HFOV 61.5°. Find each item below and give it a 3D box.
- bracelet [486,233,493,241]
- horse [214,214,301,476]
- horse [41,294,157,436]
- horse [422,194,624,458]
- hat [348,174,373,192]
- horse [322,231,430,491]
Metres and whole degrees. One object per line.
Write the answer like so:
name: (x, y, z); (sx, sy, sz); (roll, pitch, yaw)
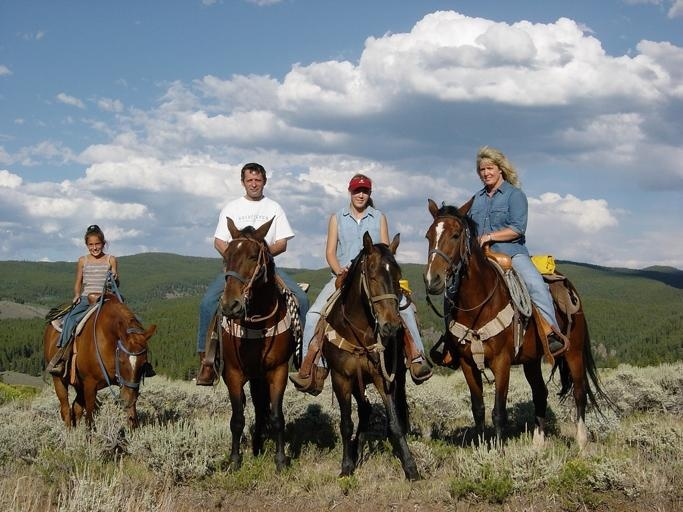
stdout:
bracelet: (2.901, -0.363, 11.194); (0.100, 0.116, 0.104); (-1, -31, 7)
horse: (-1.515, 1.648, 10.293); (1.293, 4.640, 2.386); (-1, 1, 4)
horse: (-5.418, 2.178, 13.091); (4.124, 2.693, 1.257); (-3, 11, 32)
horse: (3.189, 1.425, 10.892); (4.649, 4.920, 1.132); (-2, 2, -36)
hat: (0.367, -1.383, 10.893); (0.372, 0.320, 0.424); (-2, 1, -2)
horse: (0.481, 1.823, 10.148); (1.630, 4.409, 2.138); (-1, 1, -2)
